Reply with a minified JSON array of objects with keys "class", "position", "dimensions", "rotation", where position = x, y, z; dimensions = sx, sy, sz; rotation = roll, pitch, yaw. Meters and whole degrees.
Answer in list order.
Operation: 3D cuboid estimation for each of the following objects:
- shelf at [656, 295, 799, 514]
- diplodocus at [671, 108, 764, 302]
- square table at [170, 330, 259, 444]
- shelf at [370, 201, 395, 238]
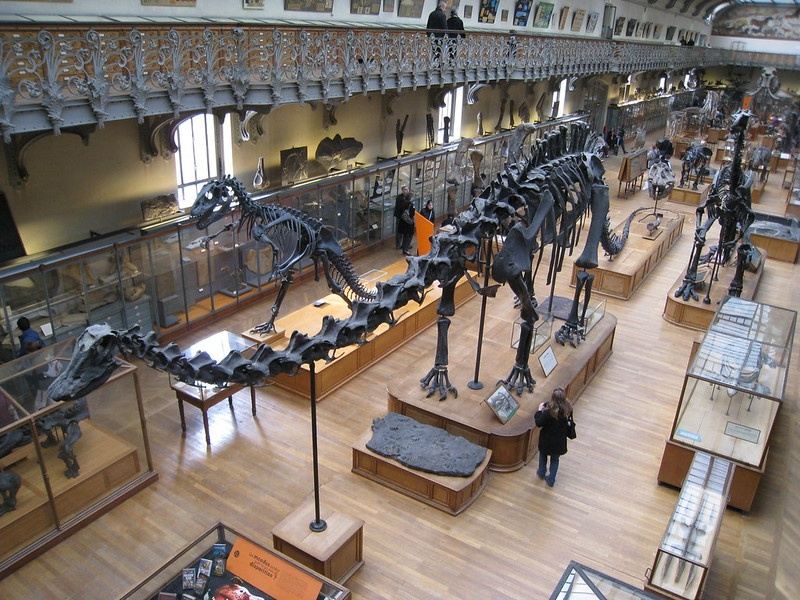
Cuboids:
[{"class":"shelf","position":[5.270,1.739,8.873],"dimensions":[1.004,1.676,2.635],"rotation":[17,38,27]},{"class":"diplodocus","position":[7.921,-1.983,13.371],"dimensions":[1.441,4.310,4.813],"rotation":[14,7,35]},{"class":"square table","position":[-2.718,1.382,8.142],"dimensions":[0.967,1.525,1.326],"rotation":[14,24,25]},{"class":"shelf","position":[-0.541,-2.434,16.512],"dimensions":[0.811,0.779,0.442],"rotation":[-11,24,-40]}]
